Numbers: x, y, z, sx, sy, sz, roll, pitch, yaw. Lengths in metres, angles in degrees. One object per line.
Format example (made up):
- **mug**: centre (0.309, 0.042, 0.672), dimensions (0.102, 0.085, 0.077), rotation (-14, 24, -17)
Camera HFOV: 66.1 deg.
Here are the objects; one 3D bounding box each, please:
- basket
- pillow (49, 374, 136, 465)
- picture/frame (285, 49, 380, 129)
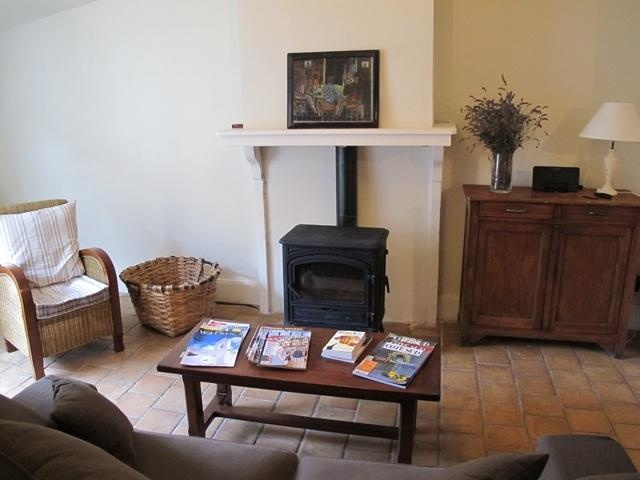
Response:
- **basket**: centre (-1.188, 0.511, 3.956), dimensions (0.701, 0.420, 0.692), rotation (3, 14, 11)
- **pillow**: centre (-0.977, 0.736, 2.050), dimensions (0.104, 0.360, 0.334), rotation (-41, 50, 5)
- **picture/frame**: centre (0.113, -1.064, 3.429), dimensions (0.602, 0.454, 0.058), rotation (1, 7, 6)
